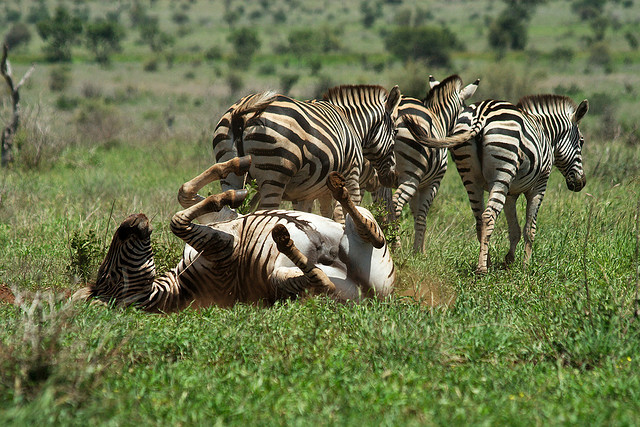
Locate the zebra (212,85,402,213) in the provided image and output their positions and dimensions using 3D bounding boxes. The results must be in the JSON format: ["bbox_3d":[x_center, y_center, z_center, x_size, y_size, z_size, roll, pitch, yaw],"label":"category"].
[{"bbox_3d":[0.030,-0.654,11.680,3.472,2.712,1.236,-1,0,-45],"label":"zebra"}]

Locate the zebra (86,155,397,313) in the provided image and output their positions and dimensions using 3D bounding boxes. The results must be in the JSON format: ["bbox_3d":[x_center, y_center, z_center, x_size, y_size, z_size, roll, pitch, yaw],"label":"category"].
[{"bbox_3d":[-0.804,0.425,10.458,3.646,2.483,1.762,3,-16,0],"label":"zebra"}]

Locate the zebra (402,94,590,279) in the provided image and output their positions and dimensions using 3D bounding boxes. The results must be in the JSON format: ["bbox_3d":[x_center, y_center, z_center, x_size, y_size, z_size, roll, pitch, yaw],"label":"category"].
[{"bbox_3d":[2.751,-0.514,11.556,4.153,3.018,0.949,7,-3,-43],"label":"zebra"}]

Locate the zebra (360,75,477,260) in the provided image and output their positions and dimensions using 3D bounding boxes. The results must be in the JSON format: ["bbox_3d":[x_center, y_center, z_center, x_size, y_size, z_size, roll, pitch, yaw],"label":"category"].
[{"bbox_3d":[1.455,-0.796,13.479,1.076,3.370,4.292,2,-2,-11],"label":"zebra"}]
